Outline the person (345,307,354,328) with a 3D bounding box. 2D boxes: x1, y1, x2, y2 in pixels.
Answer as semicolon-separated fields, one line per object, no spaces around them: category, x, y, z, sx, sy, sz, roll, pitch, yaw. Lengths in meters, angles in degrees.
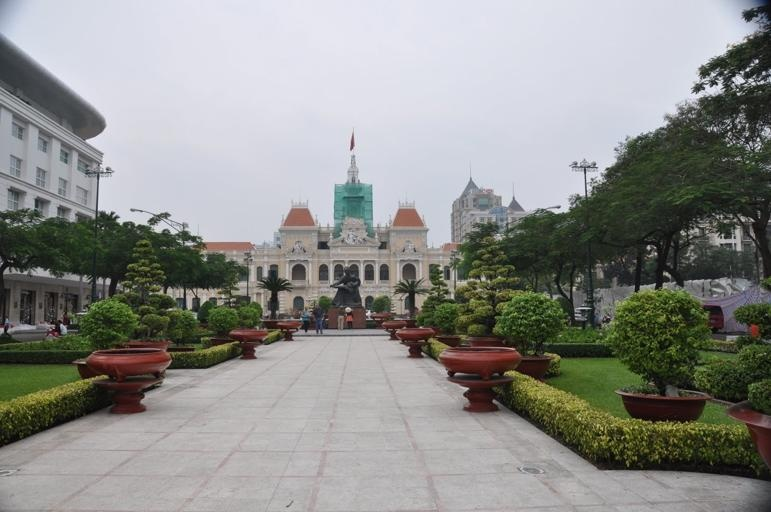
person;-2.645;4.684;43.809;0.523;1.383;1.449;-1;1;-4
